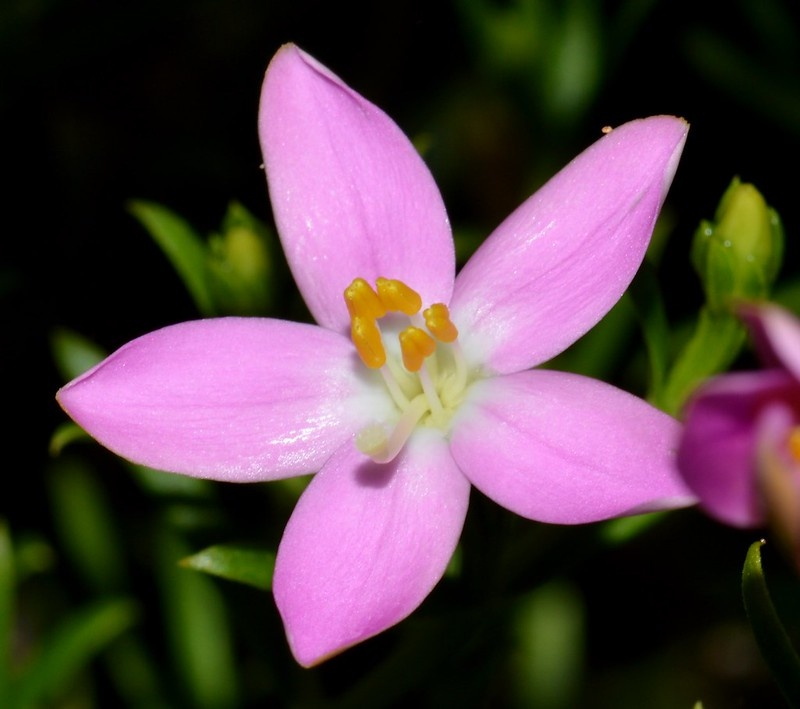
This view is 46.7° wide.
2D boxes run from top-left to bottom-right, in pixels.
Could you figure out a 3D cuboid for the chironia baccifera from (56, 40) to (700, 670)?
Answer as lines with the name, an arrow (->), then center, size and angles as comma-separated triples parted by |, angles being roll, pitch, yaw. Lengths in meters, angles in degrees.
chironia baccifera -> 0.011, -0.003, 1.317 | 0.821, 0.252, 0.869 | 21, 78, 9
